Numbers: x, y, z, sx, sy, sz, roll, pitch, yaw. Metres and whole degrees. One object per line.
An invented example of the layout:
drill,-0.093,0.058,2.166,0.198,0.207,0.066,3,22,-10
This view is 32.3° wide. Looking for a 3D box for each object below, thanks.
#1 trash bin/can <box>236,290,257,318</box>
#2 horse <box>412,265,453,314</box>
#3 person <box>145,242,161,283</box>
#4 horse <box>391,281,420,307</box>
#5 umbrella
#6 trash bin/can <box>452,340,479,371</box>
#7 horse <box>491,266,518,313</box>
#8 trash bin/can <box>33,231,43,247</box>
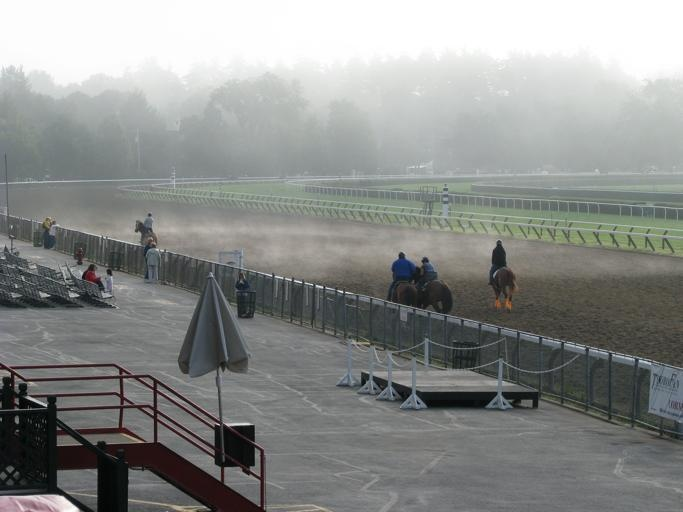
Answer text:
trash bin/can,-3.924,1.703,41.968,0.825,0.993,0.903,0,-2,-9
horse,2.827,1.346,40.793,0.568,1.630,2.279,-8,16,-33
person,-8.745,0.256,49.179,0.639,1.584,0.661,0,3,-11
horse,1.899,1.249,40.226,0.437,0.805,1.019,-2,5,-41
umbrella,-3.007,2.165,24.255,1.444,3.756,2.298,0,3,-8
trash bin/can,3.406,2.810,33.638,0.683,0.860,1.164,-1,4,-27
horse,5.715,1.108,41.823,0.890,1.452,1.445,1,4,4
trash bin/can,-16.494,-0.902,58.587,0.639,0.733,0.662,0,-4,-2
